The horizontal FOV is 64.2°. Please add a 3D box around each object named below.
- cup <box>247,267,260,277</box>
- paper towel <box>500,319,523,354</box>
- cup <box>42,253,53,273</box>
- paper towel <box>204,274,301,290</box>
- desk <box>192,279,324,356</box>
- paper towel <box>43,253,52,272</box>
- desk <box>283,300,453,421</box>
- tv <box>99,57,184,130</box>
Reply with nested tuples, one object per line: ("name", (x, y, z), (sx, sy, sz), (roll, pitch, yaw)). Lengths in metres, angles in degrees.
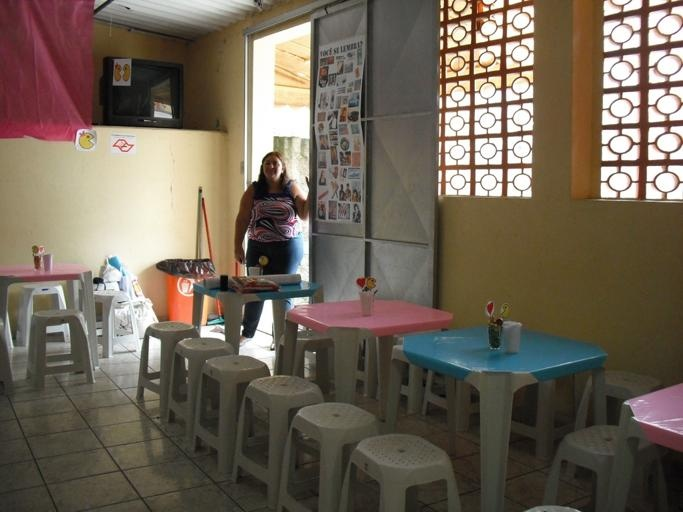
("cup", (-0.765, 0.140, 4.745), (0.072, 0.070, 0.093), (0, -4, 18))
("paper towel", (0.931, 0.451, 3.055), (0.148, 0.200, 0.137), (0, -1, -18))
("cup", (-2.678, 0.069, 5.013), (0.100, 0.165, 0.163), (1, -2, -12))
("paper towel", (-0.709, 0.217, 4.450), (0.545, 0.108, 0.104), (-1, 2, -29))
("desk", (-0.767, 0.333, 4.588), (0.706, 0.585, 0.731), (-3, 8, -30))
("paper towel", (-2.682, 0.066, 4.956), (0.083, 0.147, 0.138), (1, 0, -13))
("desk", (0.094, 0.444, 3.816), (0.900, 0.739, 0.930), (-5, 12, -29))
("tv", (-2.496, -2.004, 6.797), (0.957, 0.865, 0.530), (-2, 5, -37))
